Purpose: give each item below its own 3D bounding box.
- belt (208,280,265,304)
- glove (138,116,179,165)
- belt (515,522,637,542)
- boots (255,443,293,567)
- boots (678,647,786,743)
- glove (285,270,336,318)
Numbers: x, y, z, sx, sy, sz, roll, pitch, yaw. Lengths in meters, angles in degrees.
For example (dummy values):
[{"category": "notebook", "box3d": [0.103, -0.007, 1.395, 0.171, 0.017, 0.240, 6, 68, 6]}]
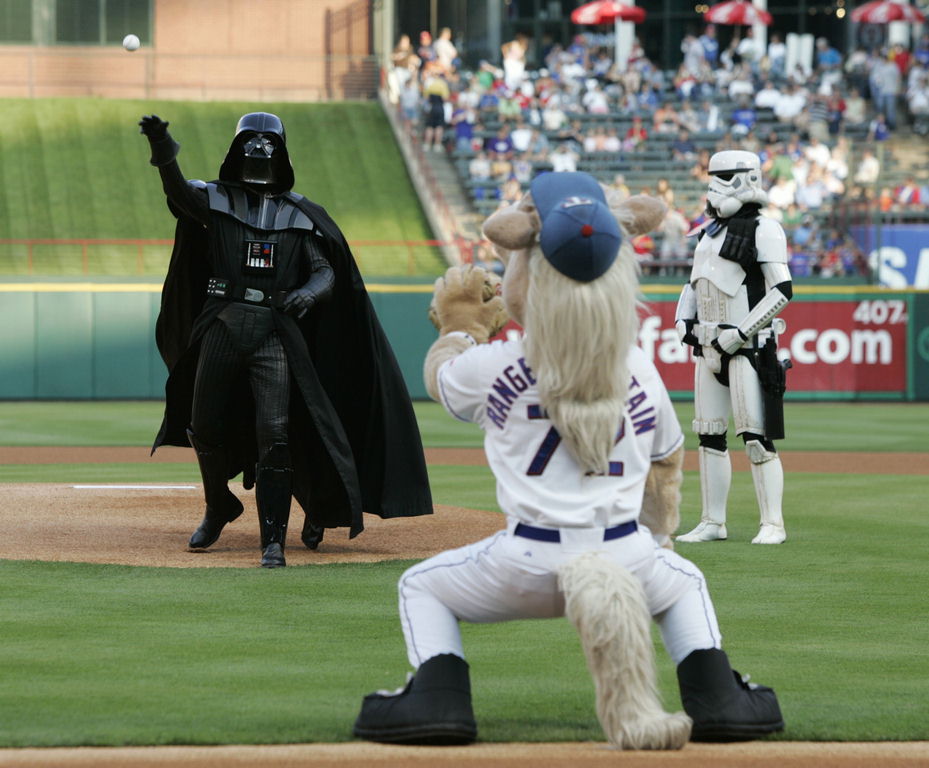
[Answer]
[{"category": "belt", "box3d": [-2.320, -0.942, 25.379, 0.609, 0.259, 0.093, 0, 11, 10]}, {"category": "glove", "box3d": [-3.101, -2.491, 25.032, 0.284, 0.223, 0.555, 4, -33, 15]}, {"category": "belt", "box3d": [1.065, 1.388, 22.649, 1.168, 0.188, 0.113, -2, 11, -4]}, {"category": "boots", "box3d": [-1.928, 1.271, 25.358, 0.376, 1.278, 0.308, -2, 11, -4]}, {"category": "boots", "box3d": [2.529, 2.965, 22.883, 1.162, 0.789, 0.653, 5, -14, -39]}, {"category": "glove", "box3d": [-1.562, -0.912, 25.423, 0.305, 0.155, 0.589, 39, 56, 9]}]
